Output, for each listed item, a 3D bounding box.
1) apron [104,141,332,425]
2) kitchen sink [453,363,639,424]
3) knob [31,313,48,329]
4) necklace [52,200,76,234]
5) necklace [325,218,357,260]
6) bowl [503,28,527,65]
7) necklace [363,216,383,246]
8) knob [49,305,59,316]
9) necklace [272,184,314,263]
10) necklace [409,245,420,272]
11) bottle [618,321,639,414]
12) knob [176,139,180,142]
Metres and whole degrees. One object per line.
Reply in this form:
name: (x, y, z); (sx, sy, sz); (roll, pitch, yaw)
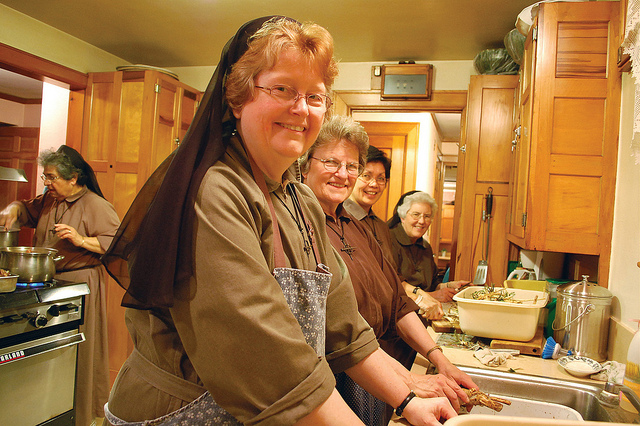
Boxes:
apron: (-0.186, 0.402, 2.324); (1.202, 1.182, 0.677); (-5, -2, -4)
kitchen sink: (1.048, 0.842, 2.230); (0.457, 0.076, 0.324); (4, 0, 13)
knob: (-1.863, 0.713, 3.091); (0.023, 0.077, 0.079); (3, -19, 32)
necklace: (-1.996, 0.038, 3.642); (0.120, 0.355, 0.038); (31, 31, -21)
necklace: (0.116, 0.130, 2.527); (0.090, 0.026, 0.231); (4, 34, -33)
bowl: (1.603, -1.381, 3.867); (0.149, 0.312, 0.493); (3, 4, 20)
necklace: (0.342, 0.117, 3.061); (0.042, 0.231, 0.078); (-19, -7, -40)
knob: (-1.812, 0.668, 3.178); (0.049, 0.071, 0.063); (2, -2, 8)
necklace: (-0.101, 0.045, 1.903); (0.098, 0.316, 0.024); (-14, -16, -21)
necklace: (0.789, 0.386, 3.870); (0.110, 0.188, 0.055); (-3, 6, -44)
bottle: (1.399, 0.683, 2.116); (0.071, 0.380, 0.231); (3, 5, 26)
knob: (-1.371, -0.698, 4.499); (0.025, 0.024, 0.025); (2, -1, 0)
